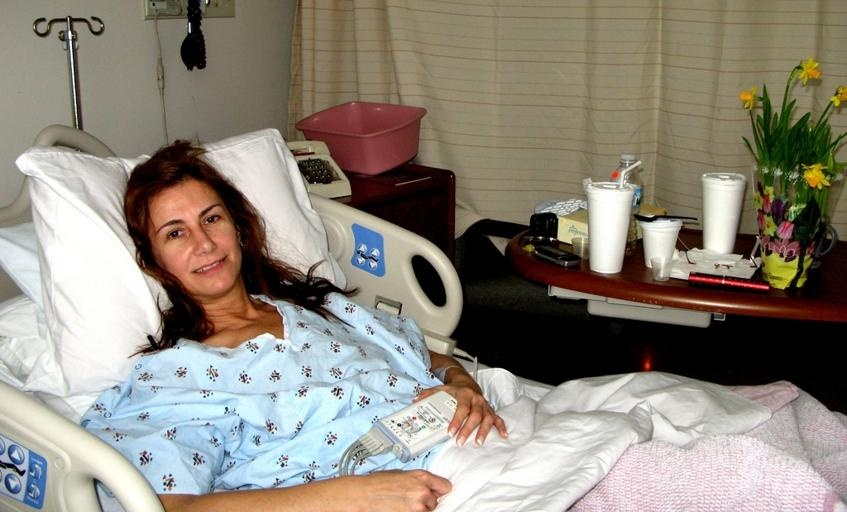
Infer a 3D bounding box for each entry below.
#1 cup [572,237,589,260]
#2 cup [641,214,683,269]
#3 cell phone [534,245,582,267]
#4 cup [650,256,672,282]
[{"bbox_3d":[0.570,-0.030,2.263,0.071,0.055,0.071,1,11,0],"label":"cup"},{"bbox_3d":[0.818,-0.057,2.166,0.168,0.168,0.162,0,15,0],"label":"cup"},{"bbox_3d":[0.481,-0.014,2.253,0.131,0.039,0.073,22,17,37],"label":"cell phone"},{"bbox_3d":[0.803,0.042,2.116,0.077,0.075,0.075,-3,4,0],"label":"cup"}]
